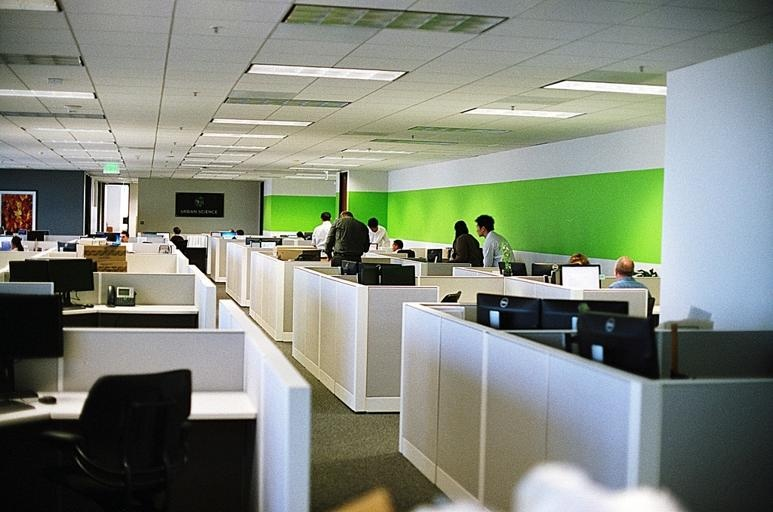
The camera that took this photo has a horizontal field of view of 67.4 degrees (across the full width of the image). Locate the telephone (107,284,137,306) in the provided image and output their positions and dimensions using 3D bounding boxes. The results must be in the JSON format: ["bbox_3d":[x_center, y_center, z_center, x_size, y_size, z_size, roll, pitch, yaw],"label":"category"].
[{"bbox_3d":[-3.039,0.443,6.746,0.391,0.201,0.291,1,10,-10],"label":"telephone"}]

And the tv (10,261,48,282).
[{"bbox_3d":[-3.832,0.165,6.205,0.420,0.264,0.217,2,-6,-26],"label":"tv"}]

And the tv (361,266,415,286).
[{"bbox_3d":[0.028,0.215,6.499,0.407,0.198,0.288,1,-2,-21],"label":"tv"}]

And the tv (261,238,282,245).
[{"bbox_3d":[-3.005,-0.347,15.235,0.498,0.117,1.502,-1,4,-9],"label":"tv"}]

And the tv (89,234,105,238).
[{"bbox_3d":[-7.968,-0.547,16.012,0.424,0.095,0.408,0,-1,-21],"label":"tv"}]

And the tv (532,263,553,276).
[{"bbox_3d":[2.306,0.206,8.519,0.312,0.163,0.978,1,4,16],"label":"tv"}]

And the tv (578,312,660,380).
[{"bbox_3d":[1.285,0.512,3.238,0.054,0.201,0.378,1,1,-34],"label":"tv"}]

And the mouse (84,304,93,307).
[{"bbox_3d":[-3.350,0.558,6.535,0.040,0.040,0.127,2,-5,-40],"label":"mouse"}]

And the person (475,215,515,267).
[{"bbox_3d":[1.833,-0.160,9.857,0.671,1.037,0.601,-5,0,-17],"label":"person"}]

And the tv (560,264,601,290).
[{"bbox_3d":[2.486,0.267,7.550,0.406,0.280,0.561,3,6,42],"label":"tv"}]

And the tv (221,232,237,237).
[{"bbox_3d":[-5.310,-0.710,19.406,0.468,0.098,3.101,-2,4,-17],"label":"tv"}]

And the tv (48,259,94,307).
[{"bbox_3d":[-3.349,0.265,6.149,0.562,0.532,0.207,0,0,-44],"label":"tv"}]

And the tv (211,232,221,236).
[{"bbox_3d":[-6.156,-0.783,20.945,0.274,0.065,0.280,-1,1,12],"label":"tv"}]

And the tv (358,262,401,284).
[{"bbox_3d":[-0.131,0.261,6.554,0.445,0.278,0.218,1,-3,-18],"label":"tv"}]

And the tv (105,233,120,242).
[{"bbox_3d":[-7.059,-0.455,14.926,0.284,0.189,0.143,3,-12,-18],"label":"tv"}]

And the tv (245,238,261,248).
[{"bbox_3d":[-3.325,-0.340,14.469,0.355,0.131,1.741,-1,4,-13],"label":"tv"}]

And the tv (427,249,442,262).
[{"bbox_3d":[1.015,-0.006,12.514,0.371,0.239,0.350,10,-15,-29],"label":"tv"}]

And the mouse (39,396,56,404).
[{"bbox_3d":[-2.202,0.936,3.779,0.059,0.029,0.072,2,-2,-18],"label":"mouse"}]

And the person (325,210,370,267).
[{"bbox_3d":[-0.684,-0.302,9.819,0.717,0.858,0.836,-1,4,-1],"label":"person"}]
